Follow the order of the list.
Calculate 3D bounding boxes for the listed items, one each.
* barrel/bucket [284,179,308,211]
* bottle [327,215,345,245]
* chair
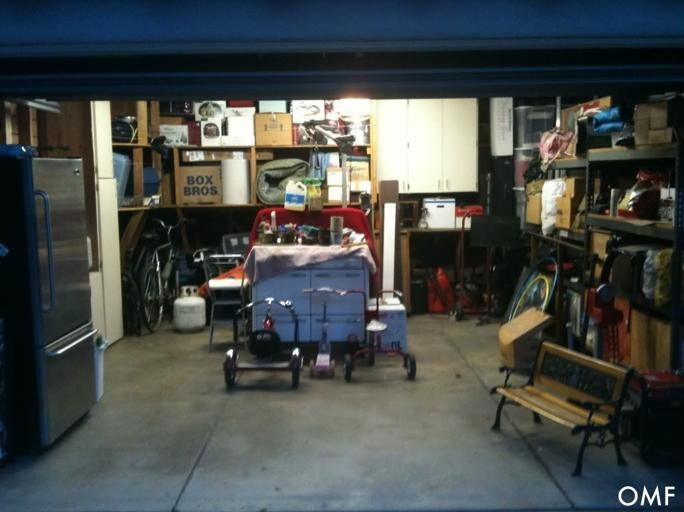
[{"bbox_3d":[-0.508,-0.671,7.291,0.242,0.312,0.223,-1,11,0],"label":"barrel/bucket"},{"bbox_3d":[-0.056,-0.285,6.967,0.150,0.276,0.266,-1,11,-1],"label":"bottle"},{"bbox_3d":[-1.348,0.513,7.672,0.484,1.047,1.680,-3,12,-12],"label":"chair"}]
